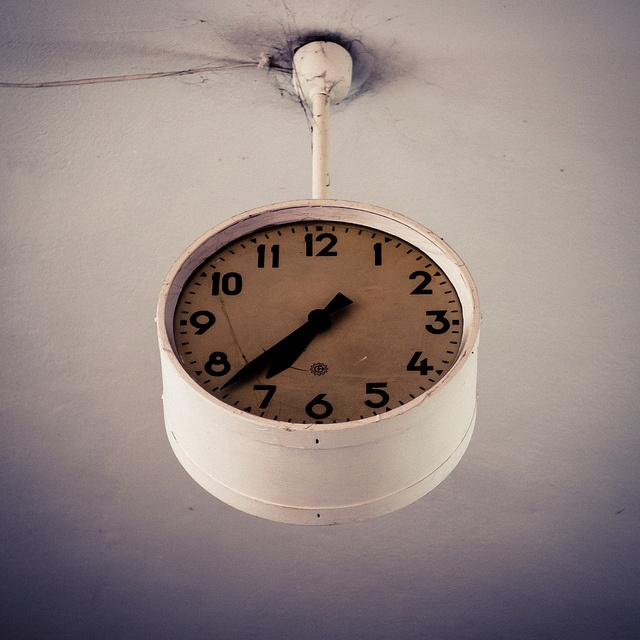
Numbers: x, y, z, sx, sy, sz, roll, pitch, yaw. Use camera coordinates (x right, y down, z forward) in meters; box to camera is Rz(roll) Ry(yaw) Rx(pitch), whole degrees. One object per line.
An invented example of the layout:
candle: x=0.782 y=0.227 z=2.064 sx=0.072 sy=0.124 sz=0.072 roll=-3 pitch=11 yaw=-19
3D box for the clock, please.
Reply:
clock: x=0.000 y=0.117 z=4.294 sx=0.941 sy=0.951 sz=0.411 roll=-22 pitch=-41 yaw=-20
